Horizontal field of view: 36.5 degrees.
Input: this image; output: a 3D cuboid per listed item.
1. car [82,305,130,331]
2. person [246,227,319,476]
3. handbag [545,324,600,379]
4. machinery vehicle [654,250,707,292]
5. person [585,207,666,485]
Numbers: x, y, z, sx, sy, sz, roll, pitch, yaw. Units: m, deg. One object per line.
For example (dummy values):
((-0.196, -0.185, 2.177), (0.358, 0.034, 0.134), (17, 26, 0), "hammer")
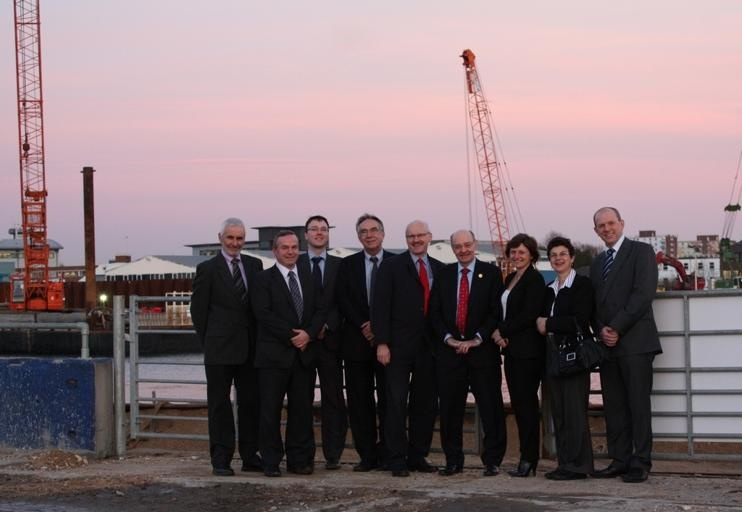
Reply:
((-10.997, 2.537, 45.215), (1.012, 0.892, 4.185), (-2, -1, -15), "car")
((-0.850, 0.981, 11.452), (0.702, 2.481, 0.437), (-2, 0, -4), "person")
((1.959, 0.929, 10.956), (0.584, 0.504, 0.259), (-5, -4, 36), "handbag")
((12.239, 0.612, 44.855), (2.538, 1.330, 0.746), (6, 16, -16), "machinery vehicle")
((2.474, 0.861, 10.991), (0.667, 2.710, 0.450), (-2, 0, 12), "person")
